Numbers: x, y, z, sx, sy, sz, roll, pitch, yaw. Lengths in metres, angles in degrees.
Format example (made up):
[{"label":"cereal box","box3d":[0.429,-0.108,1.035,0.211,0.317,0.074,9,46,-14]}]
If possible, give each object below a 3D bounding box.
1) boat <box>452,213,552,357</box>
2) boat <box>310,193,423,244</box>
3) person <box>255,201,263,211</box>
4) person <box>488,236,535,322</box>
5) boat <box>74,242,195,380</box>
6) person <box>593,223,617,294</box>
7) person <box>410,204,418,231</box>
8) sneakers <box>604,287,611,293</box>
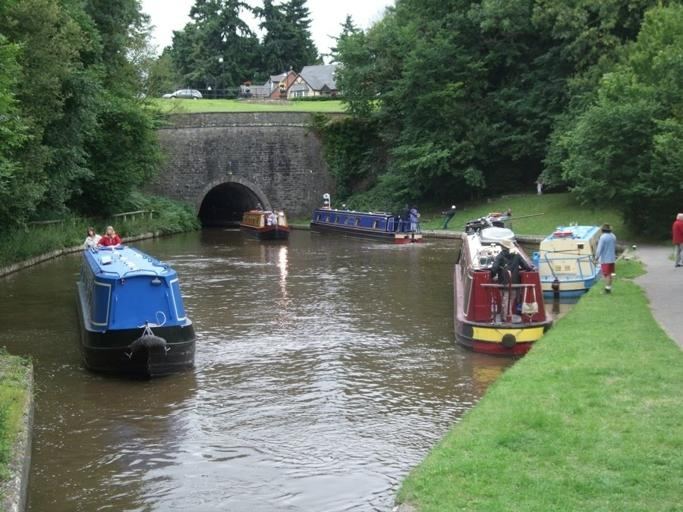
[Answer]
[{"label":"boat","box3d":[4.127,0.774,23.364,1.465,1.428,4.376,-3,16,2]},{"label":"boat","box3d":[1.396,-1.976,48.030,2.245,2.469,9.731,-2,4,-30]},{"label":"person","box3d":[-5.503,-3.363,60.210,0.523,0.712,0.215,-2,8,40]},{"label":"person","box3d":[3.903,0.536,21.007,0.633,1.861,0.879,4,7,38]},{"label":"boat","box3d":[-4.912,1.273,20.978,2.218,2.514,3.683,-3,6,-22]},{"label":"person","box3d":[6.958,0.024,23.912,0.473,1.797,0.493,1,6,12]},{"label":"person","box3d":[3.494,-1.808,43.809,0.362,1.118,0.710,0,6,2]},{"label":"sneakers","box3d":[7.006,0.867,23.795,0.137,0.142,0.151,5,23,3]}]
